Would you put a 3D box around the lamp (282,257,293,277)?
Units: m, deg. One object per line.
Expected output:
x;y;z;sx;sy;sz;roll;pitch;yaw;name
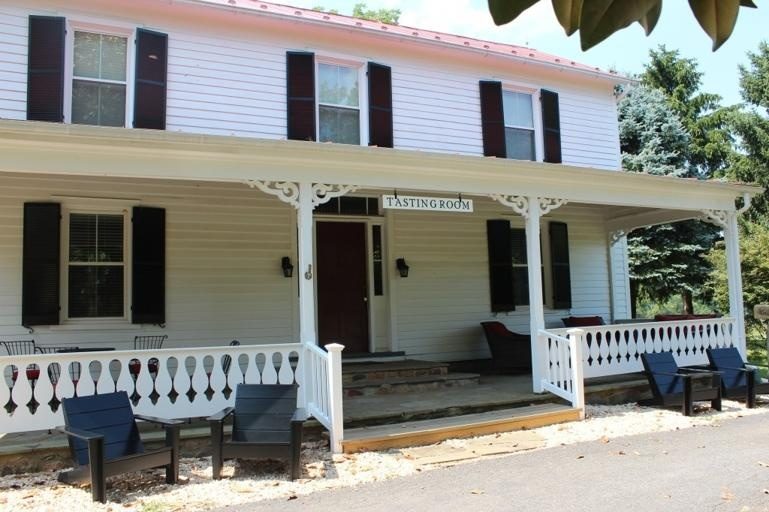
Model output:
-1.930;0.212;14.226;0.227;0.417;0.152;-7;14;-26;lamp

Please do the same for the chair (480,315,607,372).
3.379;1.896;15.493;2.321;1.089;1.194;-3;-3;-2;chair

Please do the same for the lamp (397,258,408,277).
0.380;0.251;15.158;0.250;0.421;0.226;-1;12;2;lamp
